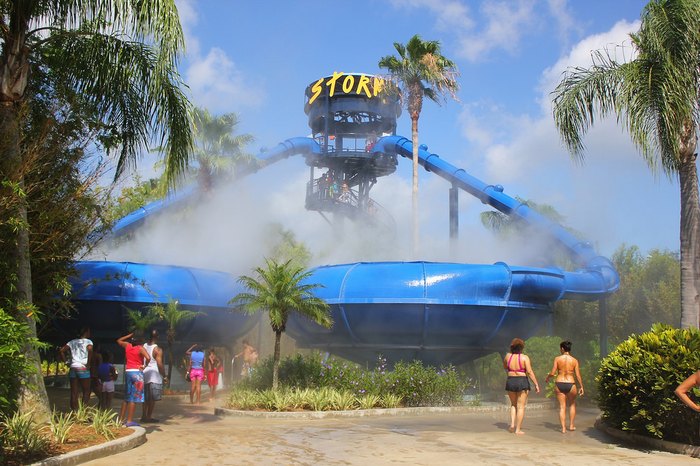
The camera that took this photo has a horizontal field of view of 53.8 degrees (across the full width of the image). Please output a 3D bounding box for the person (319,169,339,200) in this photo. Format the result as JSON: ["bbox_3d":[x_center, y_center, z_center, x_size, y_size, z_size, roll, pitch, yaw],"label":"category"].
[{"bbox_3d":[-1.378,-3.214,45.134,1.455,1.943,0.558,1,1,10],"label":"person"}]

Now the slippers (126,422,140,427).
[{"bbox_3d":[-5.405,4.753,17.059,0.240,0.107,0.140,3,-9,-4],"label":"slippers"}]

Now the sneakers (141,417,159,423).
[{"bbox_3d":[-5.484,5.108,18.803,0.351,0.152,0.189,2,-8,-13],"label":"sneakers"}]
